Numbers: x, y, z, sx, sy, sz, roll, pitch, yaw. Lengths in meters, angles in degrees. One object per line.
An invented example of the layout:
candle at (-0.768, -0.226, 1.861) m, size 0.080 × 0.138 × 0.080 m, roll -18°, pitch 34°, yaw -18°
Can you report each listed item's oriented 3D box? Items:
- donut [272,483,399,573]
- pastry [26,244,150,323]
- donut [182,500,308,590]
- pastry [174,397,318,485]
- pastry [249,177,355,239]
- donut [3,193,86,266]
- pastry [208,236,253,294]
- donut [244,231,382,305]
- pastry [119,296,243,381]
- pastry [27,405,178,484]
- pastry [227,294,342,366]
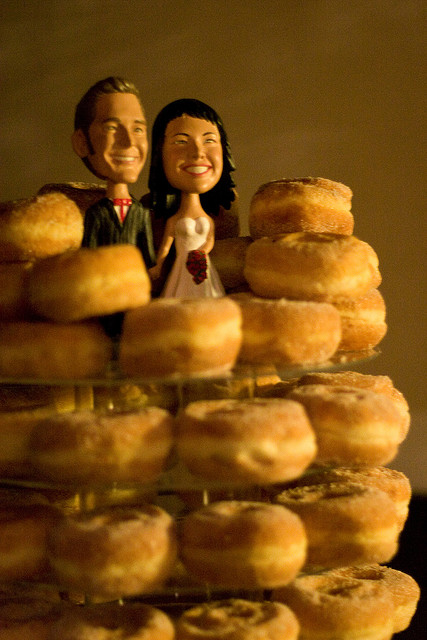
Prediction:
donut at (0.144, 0.231, 0.863) m, size 0.186 × 0.073 × 0.158 m, roll 0°, pitch -2°, yaw 15°
pastry at (-0.129, -0.037, 0.719) m, size 0.124 × 0.077 × 0.045 m, roll 0°, pitch 11°, yaw -12°
donut at (0.036, 0.239, 0.774) m, size 0.154 × 0.071 × 0.129 m, roll -2°, pitch -11°, yaw 13°
pastry at (0.034, 0.130, 0.735) m, size 0.151 × 0.072 × 0.076 m, roll 2°, pitch 10°, yaw -3°
pastry at (0.120, -0.147, 0.920) m, size 0.129 × 0.075 × 0.064 m, roll 3°, pitch 10°, yaw 8°
donut at (-0.204, -0.098, 0.825) m, size 0.102 × 0.046 × 0.089 m, roll -10°, pitch -2°, yaw -24°
pastry at (0.024, -0.073, 0.966) m, size 0.057 × 0.078 × 0.046 m, roll -2°, pitch 1°, yaw -38°
donut at (0.106, -0.058, 0.839) m, size 0.205 × 0.076 × 0.182 m, roll -2°, pitch 2°, yaw -28°
pastry at (-0.034, 0.007, 0.733) m, size 0.133 × 0.067 × 0.110 m, roll -2°, pitch 12°, yaw 12°
pastry at (-0.117, 0.119, 0.714) m, size 0.143 × 0.070 × 0.082 m, roll -2°, pitch -4°, yaw -33°
pastry at (0.082, 0.016, 0.742) m, size 0.110 × 0.066 × 0.051 m, roll 2°, pitch 10°, yaw -1°
